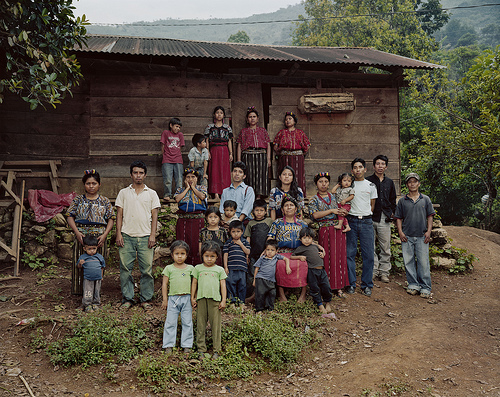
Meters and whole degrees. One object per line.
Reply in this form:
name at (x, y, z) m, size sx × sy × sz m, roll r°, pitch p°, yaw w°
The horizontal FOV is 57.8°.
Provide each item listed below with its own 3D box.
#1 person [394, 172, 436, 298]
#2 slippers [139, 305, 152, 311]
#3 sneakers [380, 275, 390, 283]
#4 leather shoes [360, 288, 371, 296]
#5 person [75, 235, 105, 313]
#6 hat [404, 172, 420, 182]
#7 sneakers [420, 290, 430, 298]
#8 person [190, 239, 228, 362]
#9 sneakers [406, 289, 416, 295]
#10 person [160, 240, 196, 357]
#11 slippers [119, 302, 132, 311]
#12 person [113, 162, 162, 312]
person at (2.974, 0.663, 8.206) m, size 0.640 × 2.223 × 0.357 m, roll 0°, pitch 1°, yaw 21°
slippers at (-1.622, 1.684, 7.056) m, size 0.199 × 0.089 × 0.114 m, roll 0°, pitch 1°, yaw 6°
sneakers at (2.553, 1.524, 8.562) m, size 0.087 × 0.074 × 0.182 m, roll -1°, pitch 2°, yaw -11°
leather shoes at (2.049, 1.641, 7.991) m, size 0.195 × 0.139 × 0.202 m, roll 0°, pitch 1°, yaw 14°
person at (-2.426, 1.136, 6.962) m, size 0.385 × 1.110 × 0.316 m, roll 0°, pitch 1°, yaw -26°
hat at (2.927, -0.384, 8.203) m, size 0.207 × 0.169 × 0.346 m, roll 0°, pitch 1°, yaw 15°
sneakers at (3.115, 1.712, 8.057) m, size 0.101 × 0.082 × 0.180 m, roll 0°, pitch -2°, yaw 2°
person at (-0.579, 1.399, 6.361) m, size 0.477 × 1.550 × 0.397 m, roll 0°, pitch 1°, yaw -4°
sneakers at (2.914, 1.675, 8.164) m, size 0.182 × 0.118 × 0.111 m, roll 0°, pitch 1°, yaw 13°
person at (-1.011, 1.348, 6.331) m, size 0.431 × 1.493 × 0.328 m, roll 0°, pitch 1°, yaw -9°
slippers at (-1.929, 1.669, 7.043) m, size 0.141 × 0.116 × 0.222 m, roll 0°, pitch 1°, yaw 12°
person at (-1.780, 0.568, 7.155) m, size 0.663 × 2.273 × 0.387 m, roll 0°, pitch 1°, yaw -17°
